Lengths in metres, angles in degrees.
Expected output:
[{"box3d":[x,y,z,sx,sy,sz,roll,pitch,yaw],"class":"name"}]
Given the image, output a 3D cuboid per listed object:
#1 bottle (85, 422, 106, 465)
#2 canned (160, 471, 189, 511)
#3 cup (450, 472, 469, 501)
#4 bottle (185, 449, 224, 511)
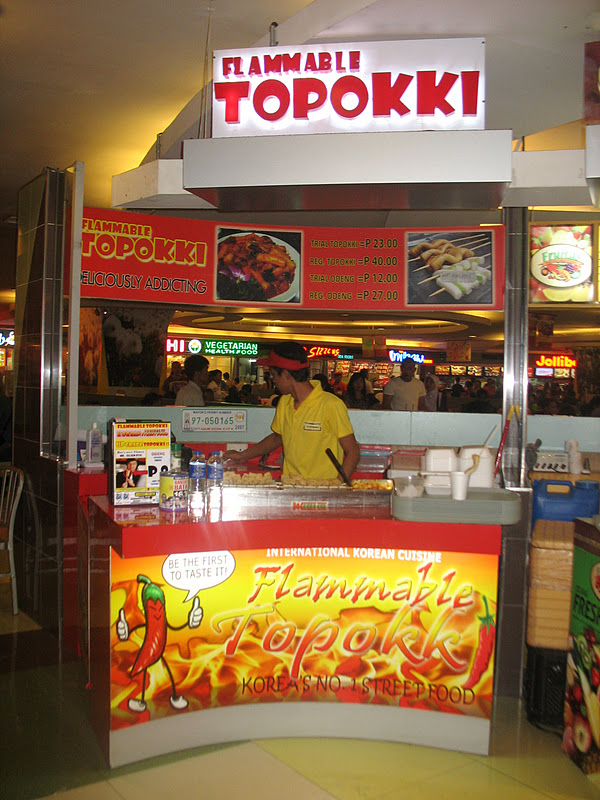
[{"box3d":[-1.145,0.254,3.717,0.097,0.227,0.193,1,0,-11],"class":"bottle"},{"box3d":[-0.507,0.360,2.592,0.144,0.146,0.112,1,0,13],"class":"canned"},{"box3d":[0.610,0.334,2.538,0.103,0.119,0.088,2,2,11],"class":"cup"},{"box3d":[-0.380,0.334,2.650,0.134,0.215,0.088,1,-1,-8],"class":"bottle"}]
